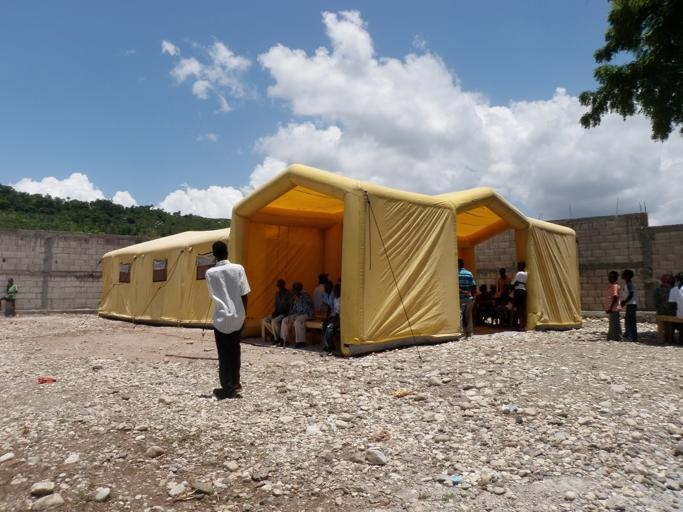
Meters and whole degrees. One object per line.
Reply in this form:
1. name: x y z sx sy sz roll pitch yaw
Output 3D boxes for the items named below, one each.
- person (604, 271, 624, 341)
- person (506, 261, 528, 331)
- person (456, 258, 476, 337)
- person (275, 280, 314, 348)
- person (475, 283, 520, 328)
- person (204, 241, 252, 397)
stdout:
1. person: 5.833 0.982 10.492 0.345 1.418 1.005 6 12 30
2. person: 4.319 0.982 11.933 0.326 1.750 1.012 2 11 16
3. person: 2.667 0.911 10.671 0.546 1.663 0.509 -3 -5 3
4. person: -1.001 1.242 10.408 0.765 1.328 0.672 8 14 39
5. person: 4.118 1.358 13.065 1.137 1.023 1.111 6 4 36
6. person: -1.479 0.835 6.552 0.531 2.047 0.481 -4 11 -15
